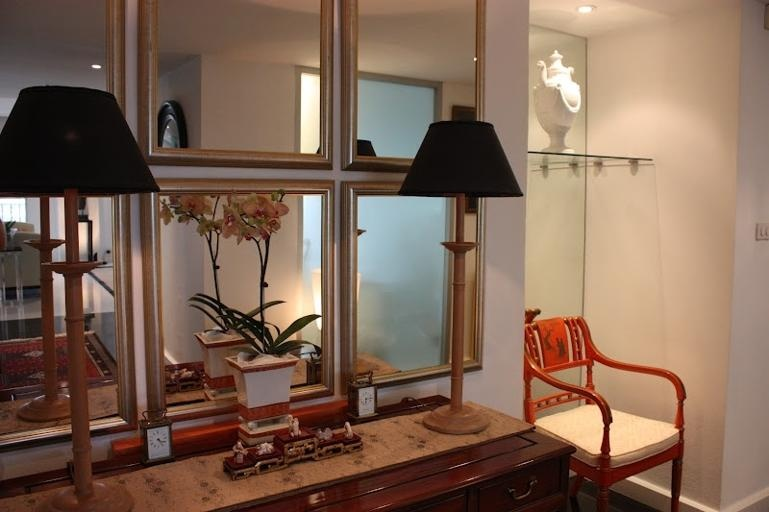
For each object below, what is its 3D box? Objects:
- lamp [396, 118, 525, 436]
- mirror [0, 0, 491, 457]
[{"bbox_3d":[0.307,0.070,2.475,0.475,1.241,0.442,-2,7,1],"label":"lamp"},{"bbox_3d":[-0.581,-0.106,2.282,1.724,1.821,0.040,-3,6,-30],"label":"mirror"}]
